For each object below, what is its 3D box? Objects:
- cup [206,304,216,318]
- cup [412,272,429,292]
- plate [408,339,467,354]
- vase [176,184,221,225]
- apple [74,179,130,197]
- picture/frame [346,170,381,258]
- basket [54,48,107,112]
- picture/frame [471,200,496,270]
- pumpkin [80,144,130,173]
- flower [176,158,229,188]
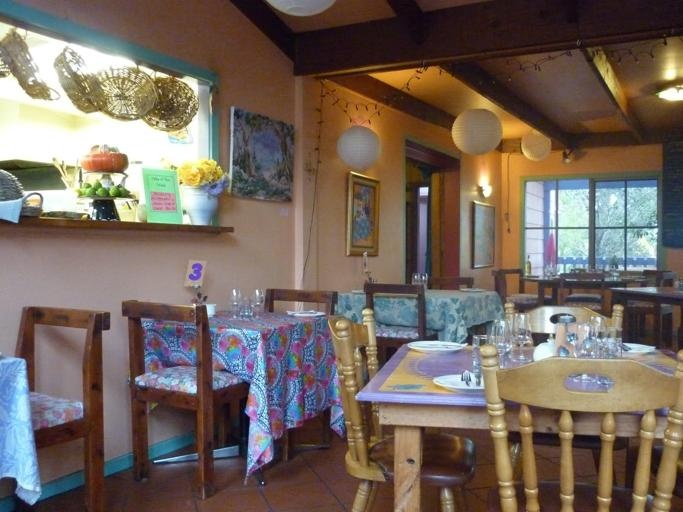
[{"bbox_3d":[-0.903,0.377,3.734,0.084,0.114,0.110,2,4,-21],"label":"cup"},{"bbox_3d":[0.747,0.236,4.961,0.177,0.198,0.196,0,-4,-3],"label":"cup"},{"bbox_3d":[0.488,0.469,2.796,0.289,0.040,0.242,2,5,33],"label":"plate"},{"bbox_3d":[-1.033,-0.350,3.897,0.271,0.302,0.255,1,-2,-42],"label":"vase"},{"bbox_3d":[-1.571,-0.443,3.531,0.337,0.122,0.260,-2,4,-20],"label":"apple"},{"bbox_3d":[0.224,-0.481,6.002,0.114,1.096,0.994,0,0,23],"label":"picture/frame"},{"bbox_3d":[-1.706,-1.144,3.487,0.218,0.344,0.295,0,4,9],"label":"basket"},{"bbox_3d":[2.326,-0.364,8.844,0.110,1.126,1.155,-1,-1,25],"label":"picture/frame"},{"bbox_3d":[-1.607,-0.654,3.605,0.273,0.199,0.170,0,4,11],"label":"pumpkin"},{"bbox_3d":[-1.012,-0.590,3.838,0.216,0.132,0.225,2,2,0],"label":"flower"}]
